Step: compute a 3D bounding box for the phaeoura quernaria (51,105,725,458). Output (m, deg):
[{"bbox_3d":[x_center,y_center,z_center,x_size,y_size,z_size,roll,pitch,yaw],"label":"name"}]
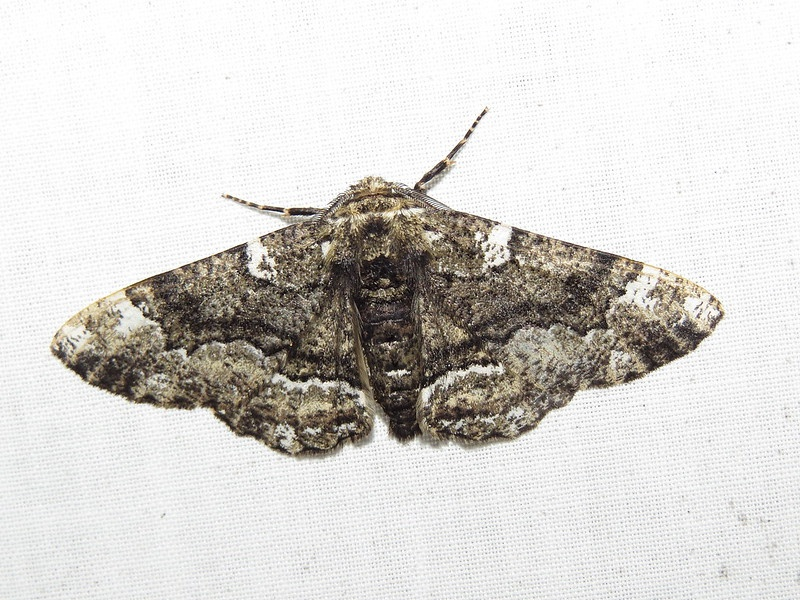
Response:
[{"bbox_3d":[0.098,-0.048,6.303,2.490,0.383,1.473,-2,82,1],"label":"phaeoura quernaria"}]
